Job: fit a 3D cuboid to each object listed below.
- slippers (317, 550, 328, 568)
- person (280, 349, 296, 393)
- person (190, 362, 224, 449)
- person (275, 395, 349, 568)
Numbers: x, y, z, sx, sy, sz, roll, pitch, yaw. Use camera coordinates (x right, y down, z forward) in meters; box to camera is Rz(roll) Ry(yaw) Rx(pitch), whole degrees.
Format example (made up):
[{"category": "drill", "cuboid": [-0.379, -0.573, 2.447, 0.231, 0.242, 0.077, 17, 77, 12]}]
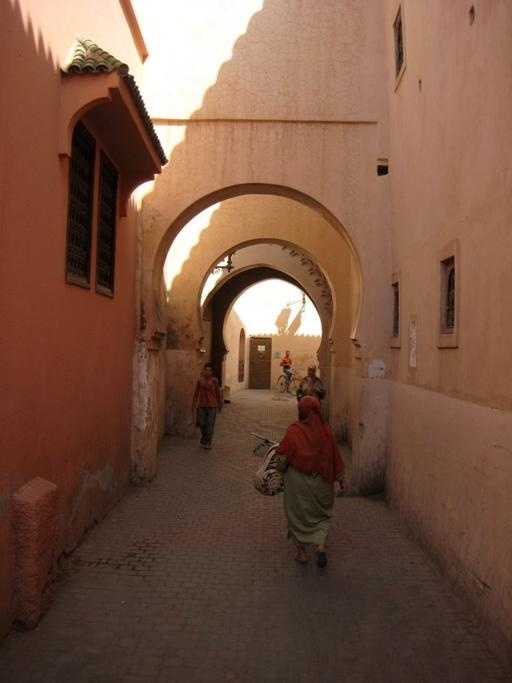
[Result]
[{"category": "slippers", "cuboid": [0.537, 1.767, 4.055, 0.084, 0.147, 0.178, 0, -3, 11]}, {"category": "person", "cuboid": [1.409, 1.381, 22.663, 0.583, 1.808, 2.170, 0, -3, 3]}, {"category": "person", "cuboid": [-0.931, 1.205, 9.357, 0.368, 1.695, 0.397, -1, 17, -16]}, {"category": "person", "cuboid": [0.448, 1.162, 4.218, 0.557, 1.390, 0.382, 0, -3, 15]}]
